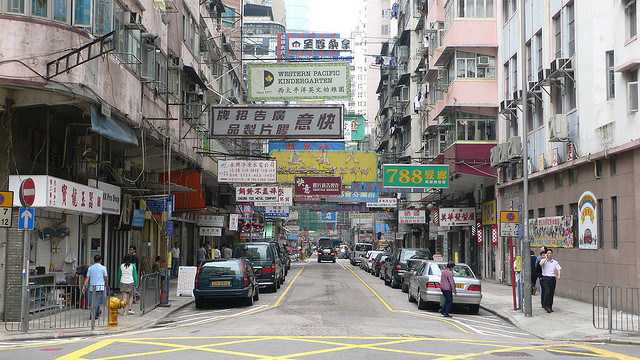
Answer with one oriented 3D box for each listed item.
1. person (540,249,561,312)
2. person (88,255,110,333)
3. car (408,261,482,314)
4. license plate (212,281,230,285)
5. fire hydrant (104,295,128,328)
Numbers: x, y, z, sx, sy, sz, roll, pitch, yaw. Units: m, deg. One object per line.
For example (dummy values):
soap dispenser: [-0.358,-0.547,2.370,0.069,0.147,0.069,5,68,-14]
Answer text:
person: [11.137,4.709,37.798,0.865,3.222,0.818,-1,-2,7]
person: [-9.883,4.562,34.459,1.063,2.854,1.074,0,-3,-2]
car: [6.430,5.309,40.770,3.243,2.338,7.254,3,-4,-3]
license plate: [-4.726,4.877,37.716,0.802,0.156,0.153,0,-11,-9]
fire hydrant: [-8.795,5.596,33.811,1.354,1.387,1.239,2,-11,-12]
